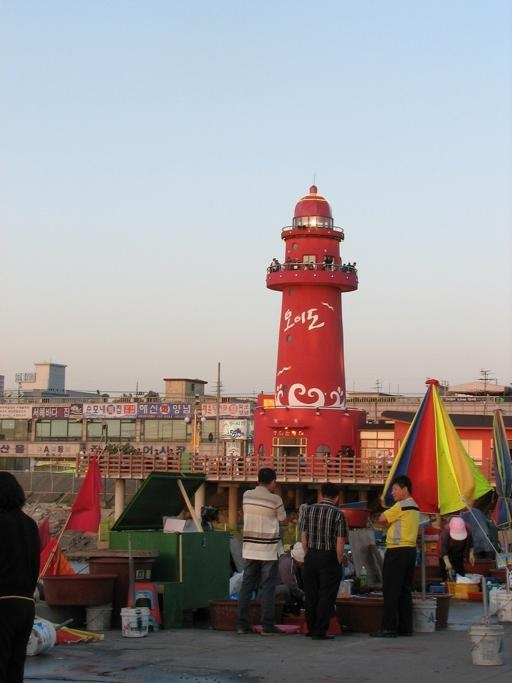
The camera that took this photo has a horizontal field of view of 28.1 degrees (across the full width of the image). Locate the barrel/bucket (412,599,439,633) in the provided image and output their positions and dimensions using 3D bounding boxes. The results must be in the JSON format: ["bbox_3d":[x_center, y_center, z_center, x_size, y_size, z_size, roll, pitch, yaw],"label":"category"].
[{"bbox_3d":[1.930,3.011,11.273,0.349,0.314,0.341,-1,-6,0],"label":"barrel/bucket"}]

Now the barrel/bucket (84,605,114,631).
[{"bbox_3d":[-1.706,2.963,11.025,0.262,0.275,0.255,1,-7,0],"label":"barrel/bucket"}]

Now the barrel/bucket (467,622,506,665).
[{"bbox_3d":[2.061,2.669,9.066,0.351,0.278,0.321,0,-6,0],"label":"barrel/bucket"}]

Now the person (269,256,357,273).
[{"bbox_3d":[2.518,-3.482,46.274,3.644,0.763,1.035,1,-7,1],"label":"person"}]

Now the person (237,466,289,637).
[{"bbox_3d":[0.068,2.234,11.030,0.493,1.732,0.583,1,-7,-1],"label":"person"}]

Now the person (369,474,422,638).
[{"bbox_3d":[1.524,2.270,10.898,0.426,1.654,0.634,0,-7,9],"label":"person"}]

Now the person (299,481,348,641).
[{"bbox_3d":[0.706,2.271,10.693,0.481,1.534,0.597,1,-7,2],"label":"person"}]

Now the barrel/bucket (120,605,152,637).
[{"bbox_3d":[-1.241,2.882,10.618,0.326,0.264,0.304,0,-4,0],"label":"barrel/bucket"}]
